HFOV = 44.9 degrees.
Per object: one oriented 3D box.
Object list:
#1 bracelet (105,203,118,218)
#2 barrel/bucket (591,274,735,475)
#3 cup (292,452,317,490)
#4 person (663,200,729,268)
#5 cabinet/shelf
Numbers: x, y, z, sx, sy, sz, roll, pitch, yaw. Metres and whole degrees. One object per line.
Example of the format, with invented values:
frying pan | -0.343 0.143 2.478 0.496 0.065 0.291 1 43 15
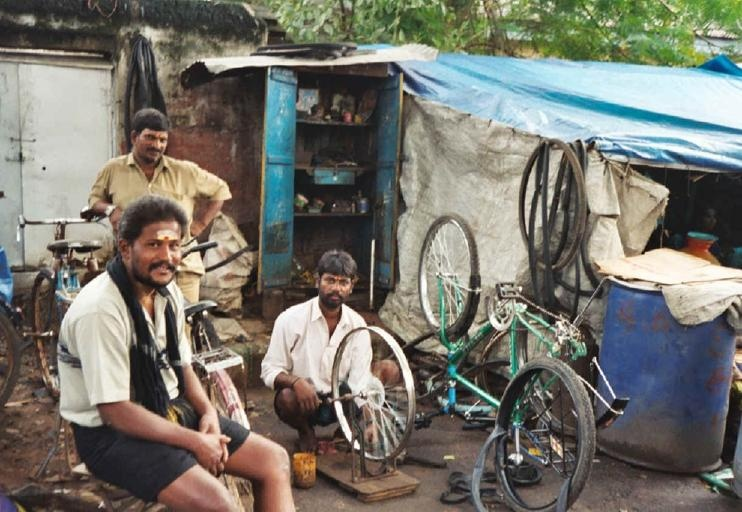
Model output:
bracelet | -2.420 -0.434 8.418 0.083 0.118 0.042 6 -33 27
barrel/bucket | 2.722 1.009 8.941 1.382 1.784 1.527 3 7 15
cup | -0.584 1.900 7.994 0.229 0.293 0.252 1 -4 0
person | 3.857 -0.161 10.521 0.519 0.771 0.511 7 -7 4
cabinet/shelf | -0.465 -0.990 11.353 0.945 2.700 0.615 1 -1 -7
